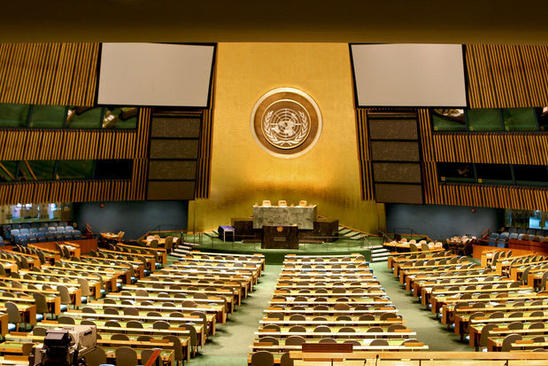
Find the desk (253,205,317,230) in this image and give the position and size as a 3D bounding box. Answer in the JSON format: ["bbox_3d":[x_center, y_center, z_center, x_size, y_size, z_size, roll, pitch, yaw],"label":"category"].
[{"bbox_3d":[0.586,1.411,24.465,3.186,1.213,2.301,2,22,8],"label":"desk"}]
